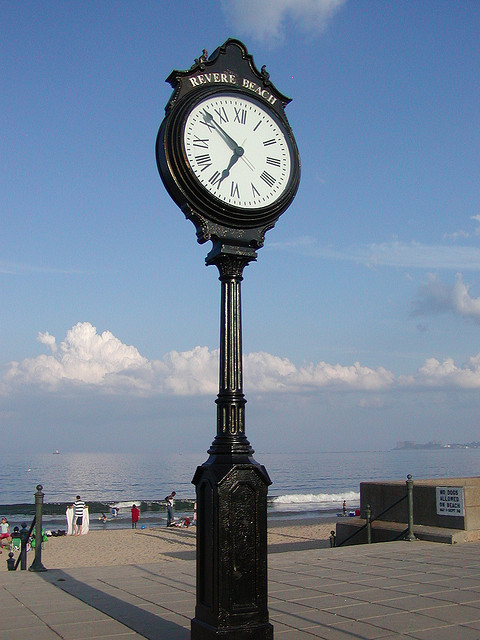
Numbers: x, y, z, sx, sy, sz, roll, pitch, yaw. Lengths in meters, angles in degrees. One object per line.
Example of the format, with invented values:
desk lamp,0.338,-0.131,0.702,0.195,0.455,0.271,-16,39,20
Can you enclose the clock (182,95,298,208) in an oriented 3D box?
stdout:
clock,-0.009,-1.481,9.397,1.135,0.976,0.110,8,-15,-33
